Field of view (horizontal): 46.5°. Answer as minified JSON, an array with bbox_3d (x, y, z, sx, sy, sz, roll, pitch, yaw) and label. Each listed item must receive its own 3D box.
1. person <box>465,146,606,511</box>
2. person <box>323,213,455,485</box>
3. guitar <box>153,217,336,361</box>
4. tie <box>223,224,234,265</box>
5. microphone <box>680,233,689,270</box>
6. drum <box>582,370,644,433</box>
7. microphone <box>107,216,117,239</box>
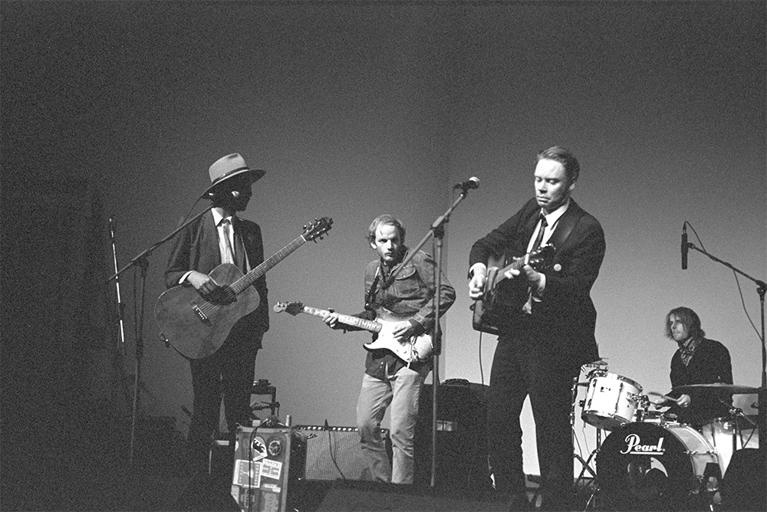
[{"bbox_3d":[0.951,0.428,5.578,0.809,2.223,0.404,1,-15,13],"label":"person"},{"bbox_3d":[0.078,0.565,5.627,0.678,1.652,0.362,4,-15,5],"label":"person"},{"bbox_3d":[-0.850,0.126,5.962,1.505,0.587,0.154,-39,4,-4],"label":"guitar"},{"bbox_3d":[-0.984,-0.072,5.724,0.087,0.190,0.021,-1,4,6],"label":"tie"},{"bbox_3d":[1.892,-0.033,5.612,0.052,0.234,0.066,1,-16,13],"label":"microphone"},{"bbox_3d":[1.438,0.908,5.655,0.353,0.277,0.366,16,-29,9],"label":"drum"},{"bbox_3d":[-1.760,-0.171,5.787,0.075,0.160,0.021,3,-15,6],"label":"microphone"}]
